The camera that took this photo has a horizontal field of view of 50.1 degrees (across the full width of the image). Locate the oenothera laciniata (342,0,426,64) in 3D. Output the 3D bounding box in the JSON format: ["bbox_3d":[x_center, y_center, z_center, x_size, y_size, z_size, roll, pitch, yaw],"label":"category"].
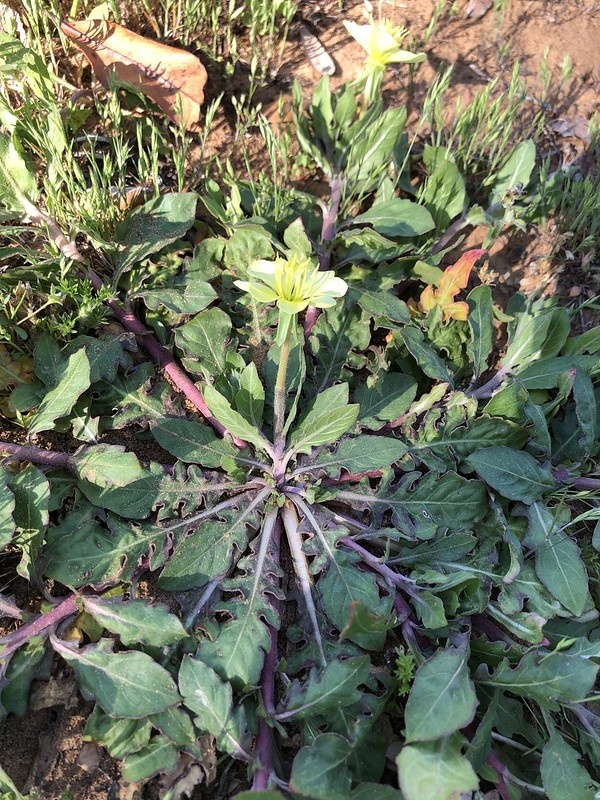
[{"bbox_3d":[0.244,-1.001,1.802,0.230,0.117,0.203,20,44,0],"label":"oenothera laciniata"}]

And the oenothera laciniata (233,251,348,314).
[{"bbox_3d":[-0.019,-0.244,1.333,0.171,0.168,0.082,-3,87,8],"label":"oenothera laciniata"}]
